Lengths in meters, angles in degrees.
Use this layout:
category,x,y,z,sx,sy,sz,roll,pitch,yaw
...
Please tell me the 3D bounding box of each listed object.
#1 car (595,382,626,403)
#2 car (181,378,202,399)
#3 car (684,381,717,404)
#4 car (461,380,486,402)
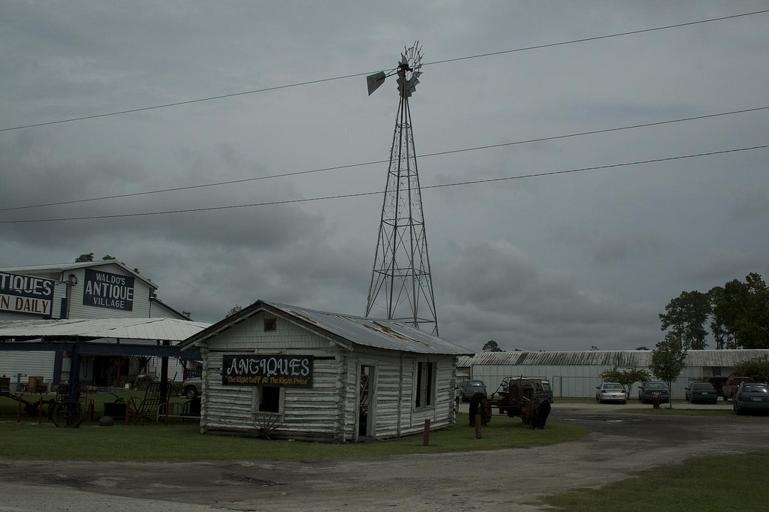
category,x,y,z,sx,sy,sz,roll,pitch,yaw
car,19.432,11.708,60.775,1.974,1.689,2.602,0,-8,7
car,-14.316,9.631,52.413,1.197,1.209,3.325,4,-9,-16
car,26.966,11.618,60.524,1.750,1.779,4.690,-1,-9,17
car,7.418,11.450,60.535,1.570,1.663,3.708,2,-9,-8
